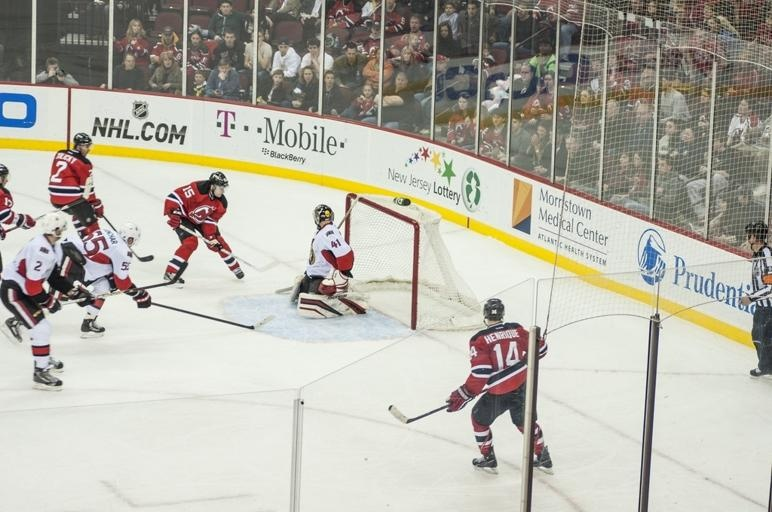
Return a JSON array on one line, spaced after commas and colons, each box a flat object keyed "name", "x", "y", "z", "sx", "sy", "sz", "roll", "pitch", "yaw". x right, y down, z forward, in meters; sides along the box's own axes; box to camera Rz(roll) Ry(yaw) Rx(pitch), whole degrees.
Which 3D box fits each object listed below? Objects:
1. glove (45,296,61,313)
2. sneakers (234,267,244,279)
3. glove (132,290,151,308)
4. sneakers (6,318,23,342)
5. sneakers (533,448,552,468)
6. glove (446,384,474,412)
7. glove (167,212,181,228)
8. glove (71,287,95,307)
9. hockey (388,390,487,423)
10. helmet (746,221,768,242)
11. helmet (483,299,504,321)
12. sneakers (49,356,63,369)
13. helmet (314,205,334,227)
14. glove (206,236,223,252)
[{"name": "glove", "x": -2.938, "y": 0.417, "z": 10.075, "sx": 0.117, "sy": 0.140, "sz": 0.123, "roll": -1, "pitch": 42, "yaw": -7}, {"name": "sneakers", "x": -1.603, "y": 0.197, "z": 12.573, "sx": 0.076, "sy": 0.060, "sz": 0.137, "roll": -34, "pitch": 4, "yaw": -4}, {"name": "glove", "x": -2.295, "y": 0.405, "z": 10.817, "sx": 0.140, "sy": 0.179, "sz": 0.072, "roll": -14, "pitch": 18, "yaw": -2}, {"name": "sneakers", "x": -3.379, "y": 0.675, "z": 10.367, "sx": 0.207, "sy": 0.197, "sz": 0.082, "roll": -16, "pitch": 5, "yaw": -28}, {"name": "sneakers", "x": 1.129, "y": 1.438, "z": 8.079, "sx": 0.183, "sy": 0.160, "sz": 0.086, "roll": 4, "pitch": 2, "yaw": 10}, {"name": "glove", "x": 0.526, "y": 1.004, "z": 8.092, "sx": 0.226, "sy": 0.086, "sz": 0.138, "roll": -36, "pitch": -3, "yaw": -4}, {"name": "glove", "x": -2.278, "y": -0.397, "z": 12.472, "sx": 0.165, "sy": 0.148, "sz": 0.057, "roll": 5, "pitch": 10, "yaw": 13}, {"name": "glove", "x": -2.809, "y": 0.380, "z": 10.656, "sx": 0.186, "sy": 0.197, "sz": 0.249, "roll": 1, "pitch": 8, "yaw": -8}, {"name": "hockey", "x": 0.249, "y": 1.081, "z": 8.045, "sx": 0.950, "sy": 0.120, "sz": 0.132, "roll": -12, "pitch": -19, "yaw": 10}, {"name": "helmet", "x": 3.384, "y": -0.217, "z": 10.294, "sx": 0.179, "sy": 0.122, "sz": 0.176, "roll": 6, "pitch": 12, "yaw": 28}, {"name": "helmet", "x": 0.794, "y": 0.392, "z": 8.296, "sx": 0.135, "sy": 0.153, "sz": 0.142, "roll": 2, "pitch": -6, "yaw": -1}, {"name": "sneakers", "x": -2.933, "y": 0.957, "z": 10.153, "sx": 0.150, "sy": 0.060, "sz": 0.058, "roll": 26, "pitch": 9, "yaw": -5}, {"name": "helmet", "x": -0.629, "y": -0.398, "z": 11.670, "sx": 0.181, "sy": 0.223, "sz": 0.246, "roll": 1, "pitch": 8, "yaw": -4}, {"name": "glove", "x": -1.906, "y": -0.141, "z": 12.585, "sx": 0.071, "sy": 0.182, "sz": 0.128, "roll": -52, "pitch": 3, "yaw": -31}]
